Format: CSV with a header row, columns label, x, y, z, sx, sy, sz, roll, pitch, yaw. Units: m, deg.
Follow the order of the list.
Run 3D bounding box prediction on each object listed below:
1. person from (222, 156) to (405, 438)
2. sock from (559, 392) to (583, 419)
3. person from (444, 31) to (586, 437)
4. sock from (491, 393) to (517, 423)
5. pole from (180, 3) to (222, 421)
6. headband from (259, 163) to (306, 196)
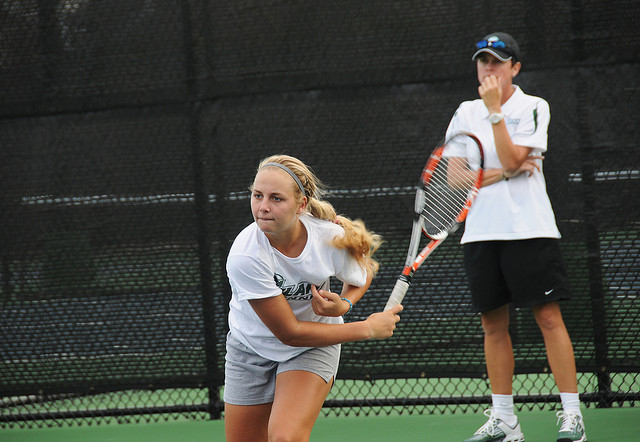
label,x,y,z,sx,sy,sz,roll,pitch,yaw
person,-0.117,0.447,5.258,0.959,1.621,0.556,-2,-11,-2
sock,1.563,1.145,5.547,0.114,0.155,0.069,-3,-11,4
person,1.205,0.101,5.653,0.673,2.494,0.623,-5,-11,15
sock,1.206,1.201,5.722,0.198,0.186,0.107,7,-14,-39
pole,-0.748,-0.067,6.275,0.198,2.289,0.424,0,3,11
headband,-0.207,-0.245,5.188,0.250,0.196,0.091,-2,-11,-5
